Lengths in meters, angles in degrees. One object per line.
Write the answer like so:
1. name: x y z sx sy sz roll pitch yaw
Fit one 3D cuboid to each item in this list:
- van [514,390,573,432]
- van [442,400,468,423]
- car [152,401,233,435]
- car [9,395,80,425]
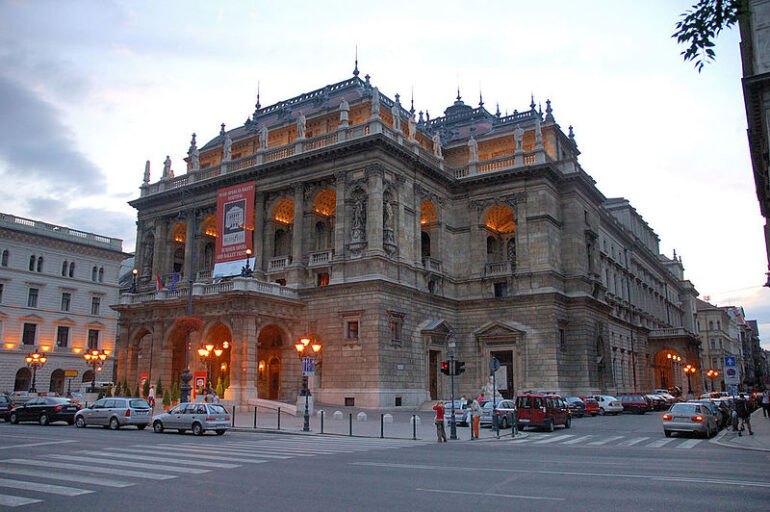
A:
1. van: 9.277 9.070 37.584 2.112 1.629 3.904 -9 -12 38
2. van: 4.582 9.828 40.403 1.202 0.854 2.527 -2 -6 15
3. car: -10.296 8.682 34.146 3.965 1.664 0.899 -6 -18 14
4. car: -21.198 9.804 40.271 4.506 1.355 1.922 -2 -14 24
